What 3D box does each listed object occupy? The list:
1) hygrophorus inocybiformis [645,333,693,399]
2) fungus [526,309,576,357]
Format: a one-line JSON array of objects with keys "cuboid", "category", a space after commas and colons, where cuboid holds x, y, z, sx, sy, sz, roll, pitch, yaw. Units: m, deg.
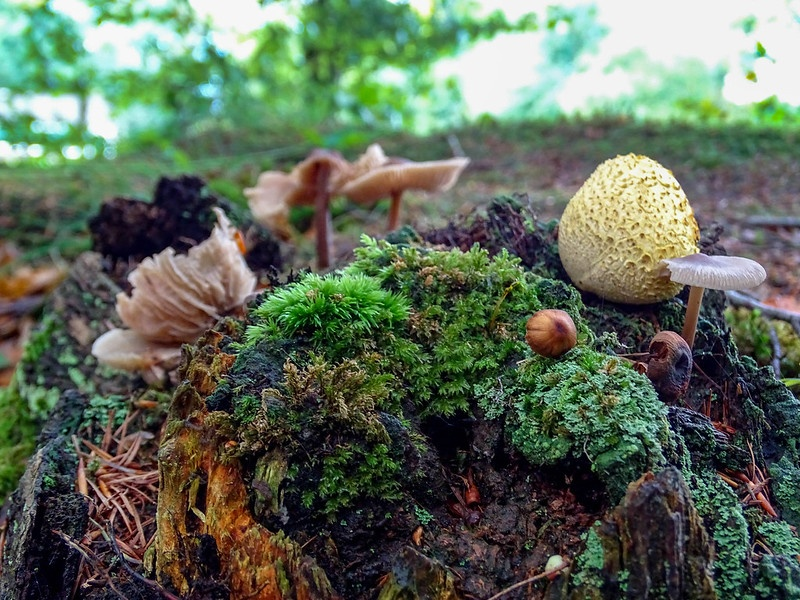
[{"cuboid": [1.827, 0.438, 4.888, 0.370, 0.439, 0.354, 7, 11, 10], "category": "hygrophorus inocybiformis"}, {"cuboid": [1.052, 0.196, 4.816, 0.319, 0.308, 0.308, 6, 8, 13], "category": "fungus"}]
